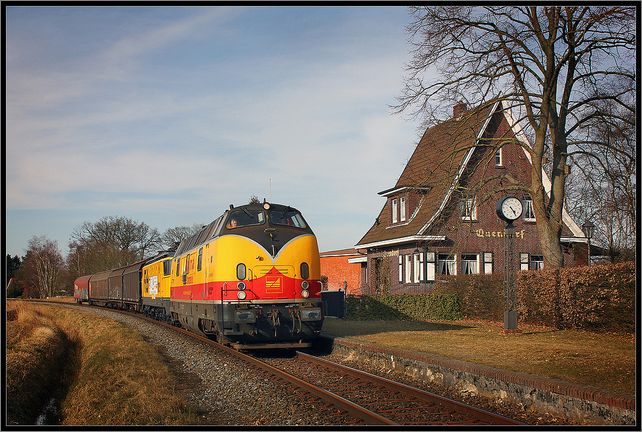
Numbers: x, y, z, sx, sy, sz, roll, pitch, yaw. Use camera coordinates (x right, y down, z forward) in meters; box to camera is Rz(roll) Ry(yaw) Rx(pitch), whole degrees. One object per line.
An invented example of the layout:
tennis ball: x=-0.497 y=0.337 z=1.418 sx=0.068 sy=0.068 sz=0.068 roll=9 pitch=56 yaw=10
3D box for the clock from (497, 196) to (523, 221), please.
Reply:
clock: x=7.251 y=-0.295 z=22.108 sx=1.115 sy=1.041 sz=0.342 roll=19 pitch=-12 yaw=-14
